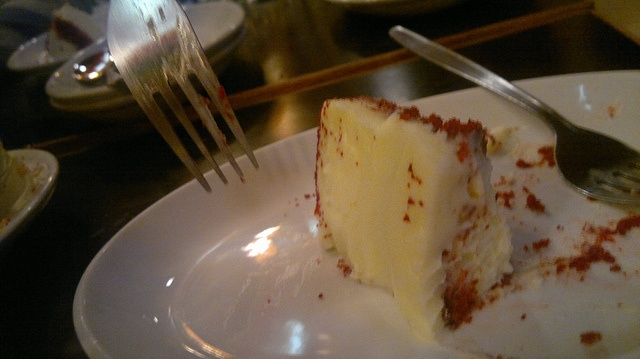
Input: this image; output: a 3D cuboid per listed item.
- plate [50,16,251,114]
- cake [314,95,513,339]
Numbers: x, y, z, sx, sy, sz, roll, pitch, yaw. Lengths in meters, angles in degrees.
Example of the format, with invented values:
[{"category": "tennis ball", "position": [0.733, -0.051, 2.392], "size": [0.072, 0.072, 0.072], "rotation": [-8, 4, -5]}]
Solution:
[{"category": "plate", "position": [-0.843, -0.455, 2.764], "size": [0.603, 0.153, 0.632], "rotation": [-14, 27, 20]}, {"category": "cake", "position": [0.289, 0.135, 2.073], "size": [0.747, 0.370, 0.667], "rotation": [10, 64, 16]}]
